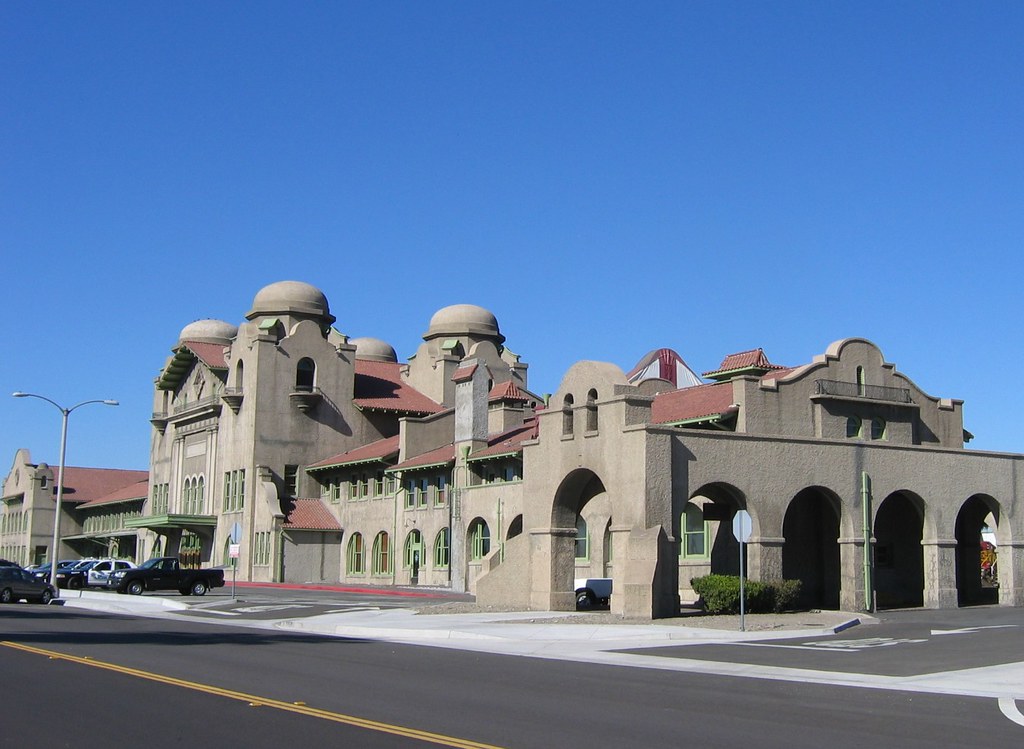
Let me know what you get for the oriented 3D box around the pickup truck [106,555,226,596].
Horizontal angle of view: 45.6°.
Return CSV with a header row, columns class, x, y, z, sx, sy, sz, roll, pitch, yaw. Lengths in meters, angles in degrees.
class,x,y,z,sx,sy,sz,roll,pitch,yaw
pickup truck,-16.122,9.718,57.294,4.410,1.628,2.168,11,-18,-31
